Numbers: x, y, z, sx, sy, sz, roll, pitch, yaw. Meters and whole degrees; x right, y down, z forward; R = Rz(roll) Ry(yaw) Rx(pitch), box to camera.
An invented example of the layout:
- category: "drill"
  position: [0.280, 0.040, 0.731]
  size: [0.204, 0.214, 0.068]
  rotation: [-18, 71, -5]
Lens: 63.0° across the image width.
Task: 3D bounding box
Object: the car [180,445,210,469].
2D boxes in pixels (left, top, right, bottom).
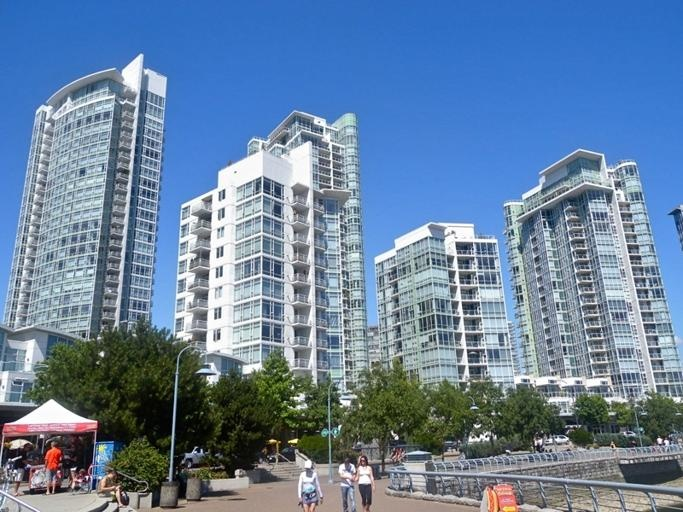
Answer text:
- category: "car"
  position: [-10.448, 14.343, 39.797]
  size: [2.124, 1.069, 2.158]
  rotation: [-8, -23, 11]

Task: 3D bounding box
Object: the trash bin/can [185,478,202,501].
- category: "trash bin/can"
  position: [-8.580, 13.455, 32.324]
  size: [0.849, 1.190, 0.520]
  rotation: [1, -22, -8]

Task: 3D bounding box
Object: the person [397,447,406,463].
- category: "person"
  position: [7.118, 23.156, 65.293]
  size: [0.493, 1.501, 0.546]
  rotation: [29, -45, -6]

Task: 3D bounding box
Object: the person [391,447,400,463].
- category: "person"
  position: [6.367, 23.127, 65.100]
  size: [0.822, 1.062, 0.426]
  rotation: [-7, -27, 36]
